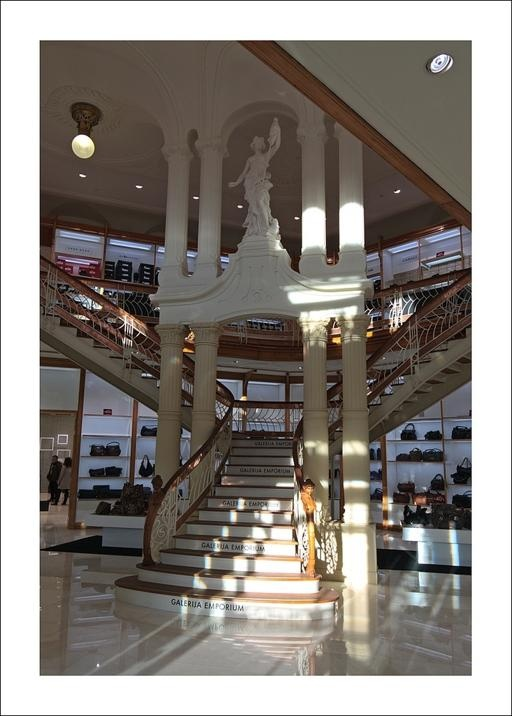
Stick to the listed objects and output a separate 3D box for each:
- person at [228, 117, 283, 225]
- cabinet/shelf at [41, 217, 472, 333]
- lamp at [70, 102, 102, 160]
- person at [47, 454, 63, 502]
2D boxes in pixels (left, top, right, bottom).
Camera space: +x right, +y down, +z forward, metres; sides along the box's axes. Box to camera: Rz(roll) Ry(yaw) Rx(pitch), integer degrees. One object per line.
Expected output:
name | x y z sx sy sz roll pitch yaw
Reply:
person | 0.036 -2.859 8.976 0.642 2.069 0.851 8 -16 -28
cabinet/shelf | 0.153 -1.702 14.003 9.567 3.132 2.534 -2 -14 6
lamp | -3.112 -4.154 10.593 0.575 0.897 0.561 2 21 -17
person | -4.751 2.879 13.779 0.298 1.095 0.900 5 -15 -18
